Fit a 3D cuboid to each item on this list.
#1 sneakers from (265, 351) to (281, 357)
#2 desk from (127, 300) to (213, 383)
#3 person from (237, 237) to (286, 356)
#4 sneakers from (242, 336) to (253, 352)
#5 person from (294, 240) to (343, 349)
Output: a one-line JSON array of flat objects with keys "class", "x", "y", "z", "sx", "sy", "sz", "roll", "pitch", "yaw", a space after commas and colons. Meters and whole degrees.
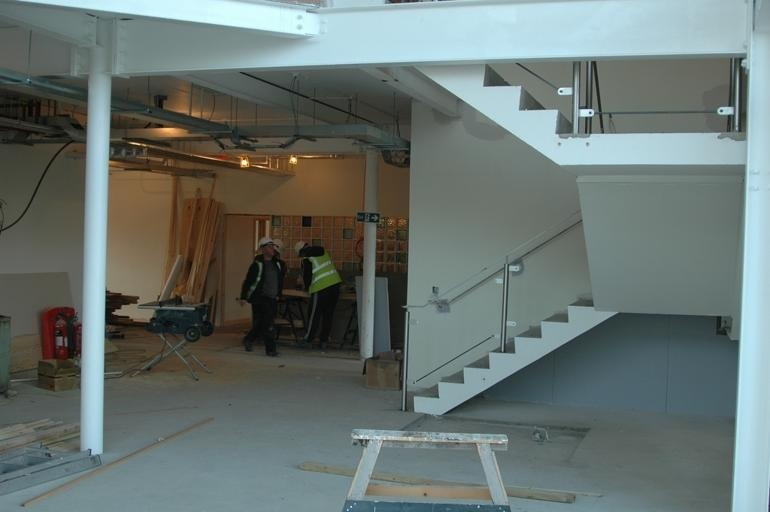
[{"class": "sneakers", "x": -2.169, "y": 1.911, "z": 12.669, "sx": 0.259, "sy": 0.103, "sz": 0.091, "roll": -1, "pitch": 0, "yaw": -3}, {"class": "desk", "x": -3.465, "y": 1.321, "z": 10.712, "sx": 1.111, "sy": 1.097, "sz": 0.850, "roll": 1, "pitch": -1, "yaw": -7}, {"class": "person", "x": -2.394, "y": 0.788, "z": 12.918, "sx": 0.788, "sy": 2.282, "sz": 1.215, "roll": 3, "pitch": 0, "yaw": -9}, {"class": "sneakers", "x": -2.757, "y": 1.781, "z": 13.170, "sx": 0.185, "sy": 0.281, "sz": 0.289, "roll": 2, "pitch": -4, "yaw": -5}, {"class": "person", "x": -1.399, "y": 0.856, "z": 13.780, "sx": 0.842, "sy": 2.107, "sz": 0.591, "roll": 3, "pitch": -1, "yaw": -11}]
